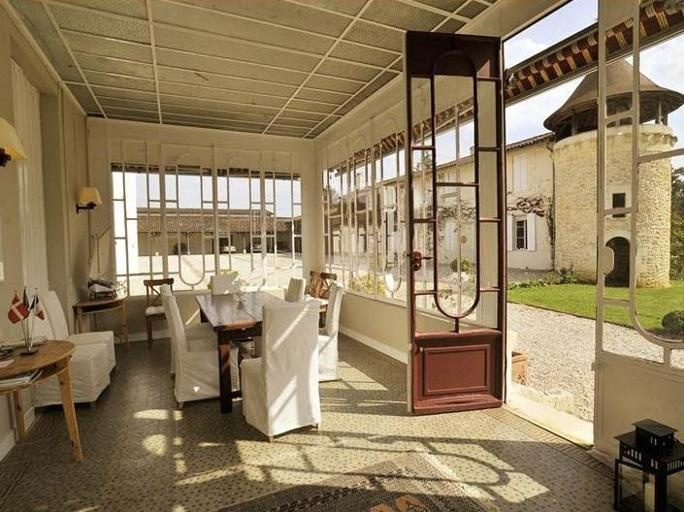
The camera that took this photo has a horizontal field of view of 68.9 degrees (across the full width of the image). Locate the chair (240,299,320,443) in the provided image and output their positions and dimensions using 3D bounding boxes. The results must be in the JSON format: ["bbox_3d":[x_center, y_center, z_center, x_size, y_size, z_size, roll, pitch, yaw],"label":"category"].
[{"bbox_3d":[-0.609,1.139,5.096,0.795,1.368,0.415,-2,1,-10],"label":"chair"}]

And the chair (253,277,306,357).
[{"bbox_3d":[-0.961,0.813,7.362,0.817,1.559,0.834,1,-4,-23],"label":"chair"}]

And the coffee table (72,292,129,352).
[{"bbox_3d":[-3.457,0.960,7.260,0.847,0.862,0.690,-3,7,-30],"label":"coffee table"}]

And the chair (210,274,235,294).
[{"bbox_3d":[-1.847,0.436,7.793,0.295,0.323,0.299,2,-2,-24],"label":"chair"}]

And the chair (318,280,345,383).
[{"bbox_3d":[-0.131,0.956,6.143,0.300,1.233,0.267,-1,1,-3],"label":"chair"}]

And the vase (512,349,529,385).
[{"bbox_3d":[2.122,1.384,6.000,0.282,0.358,0.110,-2,2,-38],"label":"vase"}]
